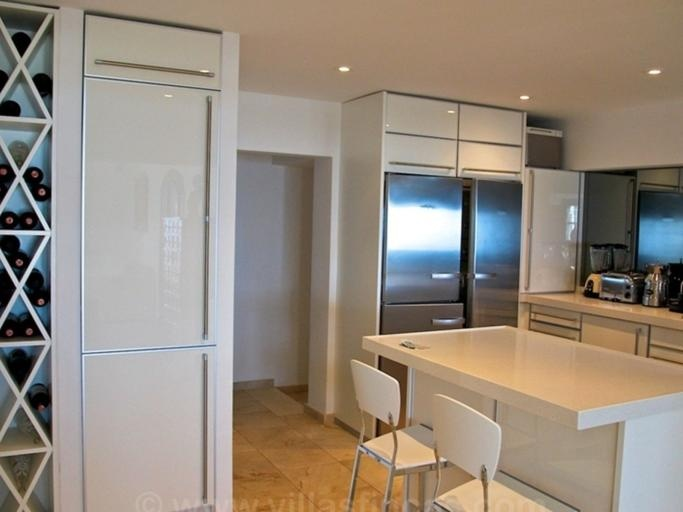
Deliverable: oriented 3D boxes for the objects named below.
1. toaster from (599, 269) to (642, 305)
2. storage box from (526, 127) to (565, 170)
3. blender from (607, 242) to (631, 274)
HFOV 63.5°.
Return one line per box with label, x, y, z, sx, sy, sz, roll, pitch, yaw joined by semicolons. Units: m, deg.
toaster;2.512;0.279;4.981;0.238;0.288;0.391;3;0;-20
storage box;1.995;-1.056;5.414;0.445;0.450;0.321;-1;3;-28
blender;2.729;0.012;5.368;0.204;0.342;0.279;-2;6;-6
